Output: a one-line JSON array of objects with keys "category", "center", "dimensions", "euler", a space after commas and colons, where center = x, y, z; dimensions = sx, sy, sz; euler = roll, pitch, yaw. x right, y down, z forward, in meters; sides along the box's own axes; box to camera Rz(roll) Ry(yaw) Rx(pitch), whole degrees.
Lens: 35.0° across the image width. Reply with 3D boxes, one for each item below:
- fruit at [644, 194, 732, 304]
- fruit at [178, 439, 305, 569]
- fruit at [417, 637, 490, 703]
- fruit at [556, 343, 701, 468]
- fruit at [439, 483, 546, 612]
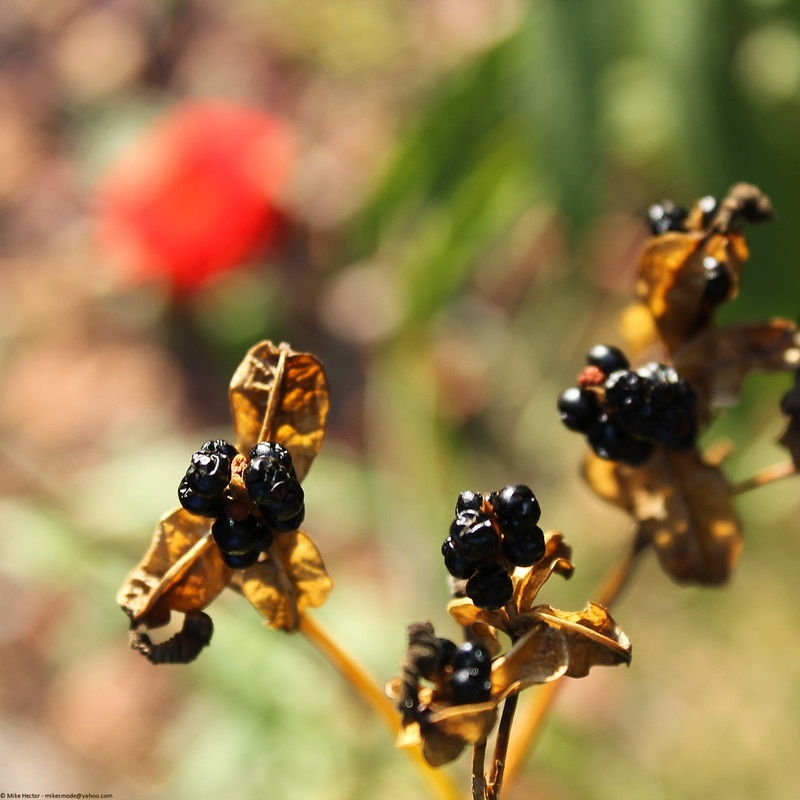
[{"category": "fruit", "center": [0.166, -0.089, 0.742], "dimensions": [0.069, 0.060, 0.029], "euler": [-1, 9, -7]}, {"category": "fruit", "center": [-0.086, 0.054, 0.685], "dimensions": [0.070, 0.069, 0.032], "euler": [3, 6, -3]}, {"category": "fruit", "center": [0.034, 0.140, 0.661], "dimensions": [0.028, 0.032, 0.021], "euler": [0, -3, -1]}, {"category": "fruit", "center": [0.135, 0.006, 0.740], "dimensions": [0.083, 0.072, 0.058], "euler": [-3, 15, 7]}, {"category": "fruit", "center": [0.051, 0.079, 0.674], "dimensions": [0.046, 0.065, 0.041], "euler": [3, 18, 29]}]
